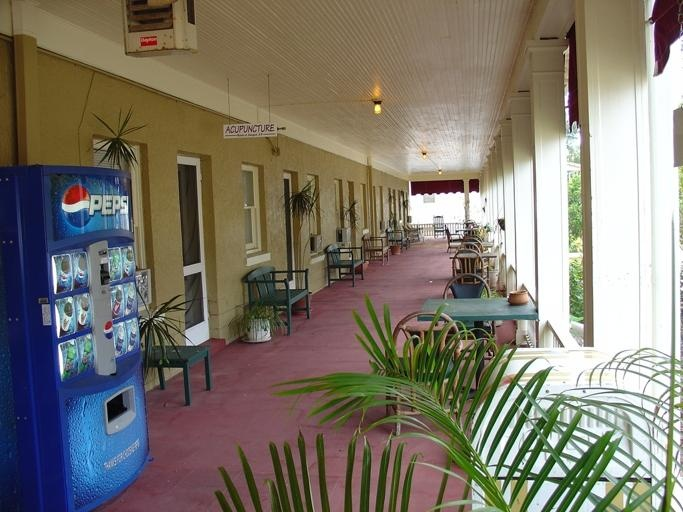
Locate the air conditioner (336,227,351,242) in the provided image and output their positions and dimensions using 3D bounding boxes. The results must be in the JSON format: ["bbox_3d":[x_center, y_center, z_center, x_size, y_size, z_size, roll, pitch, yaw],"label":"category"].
[{"bbox_3d":[0.062,-0.504,12.483,0.225,0.357,0.463,-1,0,19],"label":"air conditioner"}]

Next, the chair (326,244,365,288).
[{"bbox_3d":[0.101,0.187,12.156,0.561,0.916,1.731,-2,2,9],"label":"chair"}]

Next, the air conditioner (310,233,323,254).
[{"bbox_3d":[-0.455,-0.216,10.781,0.234,0.490,0.485,-2,-2,9],"label":"air conditioner"}]

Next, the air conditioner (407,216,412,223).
[{"bbox_3d":[3.275,-1.806,25.989,0.087,0.366,0.732,-2,7,22],"label":"air conditioner"}]

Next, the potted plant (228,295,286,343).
[{"bbox_3d":[-1.119,0.856,7.350,0.588,0.489,0.794,-3,6,16],"label":"potted plant"}]

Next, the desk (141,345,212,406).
[{"bbox_3d":[-1.536,0.983,5.092,0.579,0.525,0.614,0,1,10],"label":"desk"}]

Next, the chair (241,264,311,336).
[{"bbox_3d":[-0.927,0.630,8.055,0.588,1.019,1.687,-3,2,6],"label":"chair"}]
